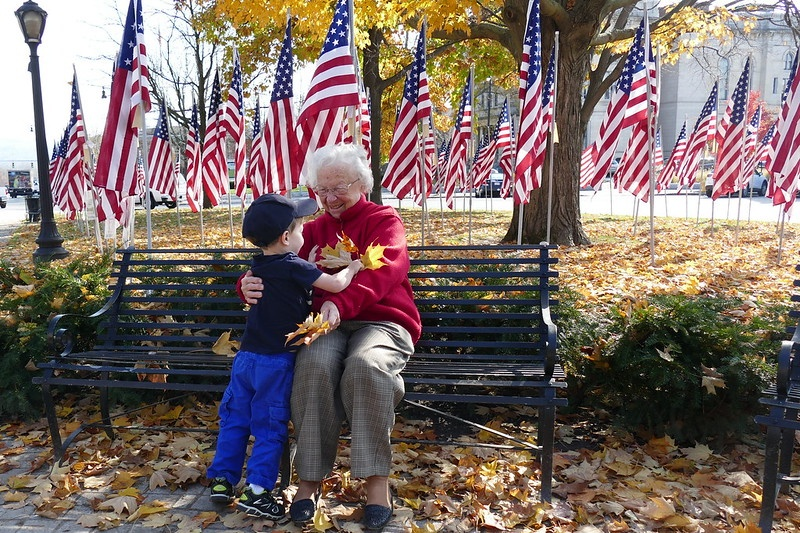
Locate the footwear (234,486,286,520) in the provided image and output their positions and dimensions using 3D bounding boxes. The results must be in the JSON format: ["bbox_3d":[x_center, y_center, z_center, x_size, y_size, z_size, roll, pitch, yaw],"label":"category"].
[{"bbox_3d":[-1.017,1.781,5.115,0.397,0.197,0.147,23,-13,-25],"label":"footwear"}]

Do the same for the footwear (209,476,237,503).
[{"bbox_3d":[-1.389,1.730,5.260,0.189,0.226,0.195,0,5,-13],"label":"footwear"}]

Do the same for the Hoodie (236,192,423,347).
[{"bbox_3d":[-0.507,0.024,5.670,1.055,1.030,1.455,-2,-2,44],"label":"Hoodie"}]

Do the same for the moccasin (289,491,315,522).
[{"bbox_3d":[-0.720,1.826,5.026,0.183,0.201,0.098,0,5,-11],"label":"moccasin"}]

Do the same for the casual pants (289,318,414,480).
[{"bbox_3d":[-0.377,1.025,5.209,0.891,1.144,0.605,1,5,0],"label":"casual pants"}]
